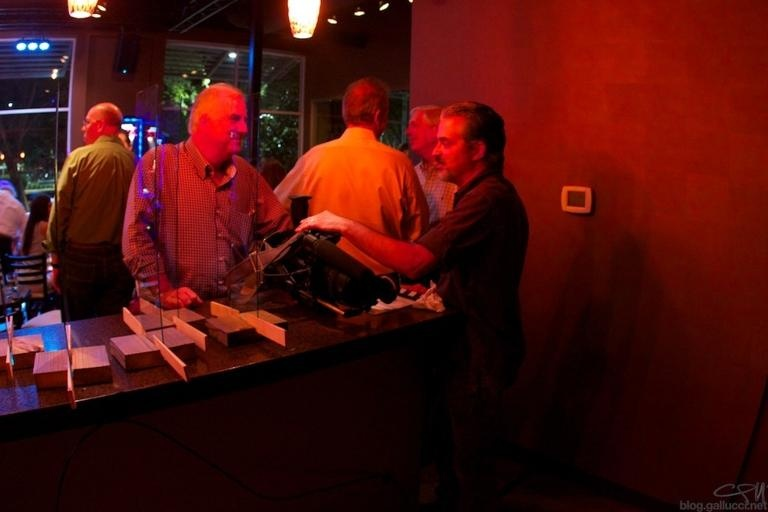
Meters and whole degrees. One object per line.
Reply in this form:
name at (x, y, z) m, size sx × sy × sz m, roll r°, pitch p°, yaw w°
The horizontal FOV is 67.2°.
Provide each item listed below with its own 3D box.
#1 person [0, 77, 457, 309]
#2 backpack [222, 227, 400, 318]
person at (-0.594, -0.233, 2.320) m, size 1.077 × 0.793 × 0.347 m, roll 8°, pitch 17°, yaw -23°
backpack at (-0.254, -0.003, 2.138) m, size 0.427 × 0.220 × 0.350 m, roll 8°, pitch 5°, yaw 38°
